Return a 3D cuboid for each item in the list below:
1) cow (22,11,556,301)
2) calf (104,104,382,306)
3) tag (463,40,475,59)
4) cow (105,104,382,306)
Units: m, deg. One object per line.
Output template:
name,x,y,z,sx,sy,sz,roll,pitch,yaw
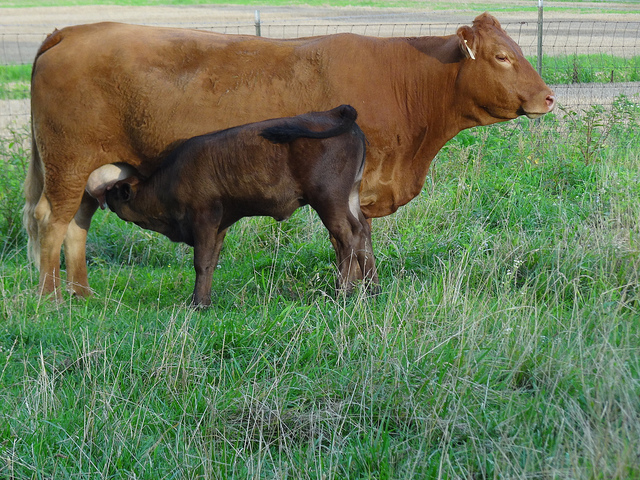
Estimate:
cow,-0.323,-0.558,6.707,4.593,2.853,1.260,-1,-8,2
calf,-0.795,-0.208,6.380,2.276,1.615,0.626,-4,3,8
tag,1.228,-1.542,6.248,0.045,0.216,0.025,-21,5,-43
cow,-0.736,-0.217,6.323,2.228,1.537,0.634,-6,2,3
